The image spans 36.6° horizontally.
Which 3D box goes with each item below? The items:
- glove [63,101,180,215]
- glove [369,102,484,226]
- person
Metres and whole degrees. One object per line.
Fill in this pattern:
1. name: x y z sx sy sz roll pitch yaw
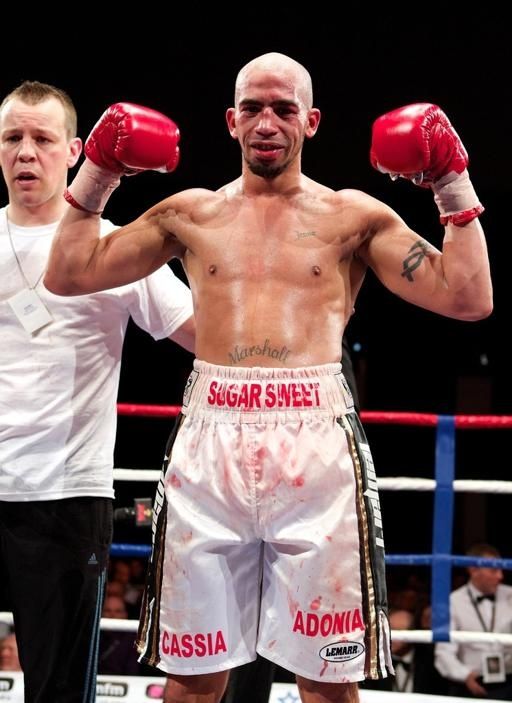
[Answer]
1. glove: -0.285 -0.420 1.767 0.214 0.267 0.228 19 15 -14
2. glove: 0.348 -0.385 1.642 0.197 0.249 0.171 -15 19 17
3. person: -0.014 0.038 1.658 0.966 1.366 0.309 -3 -7 21
